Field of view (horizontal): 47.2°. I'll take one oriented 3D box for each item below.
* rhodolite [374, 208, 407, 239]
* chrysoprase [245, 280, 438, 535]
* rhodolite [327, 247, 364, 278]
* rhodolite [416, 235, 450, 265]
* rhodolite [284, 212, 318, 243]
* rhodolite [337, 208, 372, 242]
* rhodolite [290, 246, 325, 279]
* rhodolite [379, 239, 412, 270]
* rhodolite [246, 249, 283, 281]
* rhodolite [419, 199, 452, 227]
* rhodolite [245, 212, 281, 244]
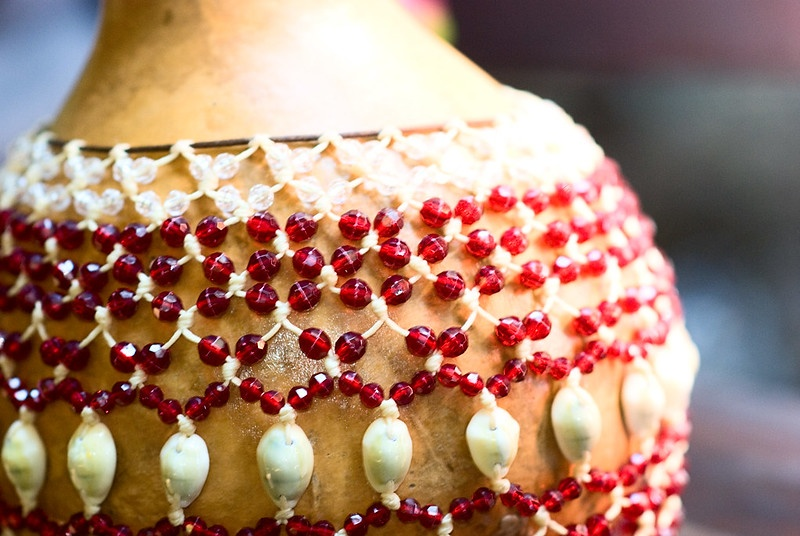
[{"bbox_3d":[-0.013,-0.046,1.021,0.027,0.032,0.032,15,82,-32],"label":"rhodolite"},{"bbox_3d":[-0.074,0.157,1.007,0.251,0.086,0.278,0,91,0],"label":"chrysoprase"},{"bbox_3d":[-0.061,-0.005,1.015,0.031,0.016,0.034,45,66,6],"label":"rhodolite"},{"bbox_3d":[0.036,-0.018,1.026,0.033,0.016,0.033,32,66,0],"label":"rhodolite"},{"bbox_3d":[-0.110,-0.043,1.013,0.031,0.017,0.031,-25,90,-5],"label":"rhodolite"},{"bbox_3d":[-0.052,-0.046,1.014,0.029,0.017,0.032,21,94,-1],"label":"rhodolite"},{"bbox_3d":[-0.102,-0.004,1.011,0.031,0.016,0.032,-29,90,-5],"label":"rhodolite"},{"bbox_3d":[-0.006,-0.014,1.014,0.030,0.019,0.032,3,98,4],"label":"rhodolite"},{"bbox_3d":[-0.151,0.000,1.016,0.034,0.020,0.032,19,66,-6],"label":"rhodolite"},{"bbox_3d":[0.039,-0.058,1.028,0.029,0.017,0.032,0,92,-7],"label":"rhodolite"},{"bbox_3d":[-0.153,-0.042,1.014,0.032,0.028,0.030,8,69,-14],"label":"rhodolite"}]
